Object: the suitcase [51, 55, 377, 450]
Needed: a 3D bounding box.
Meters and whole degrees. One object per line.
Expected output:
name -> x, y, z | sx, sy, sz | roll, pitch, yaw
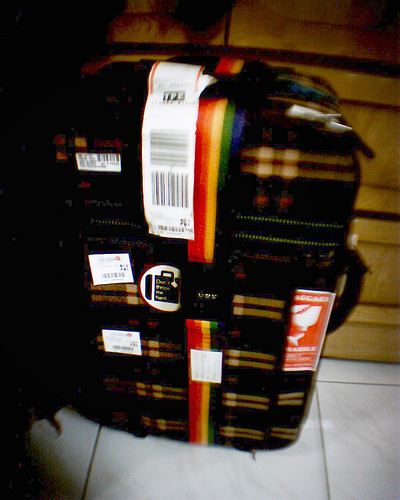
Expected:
suitcase -> 0.020, 0.049, 1.153 | 0.713, 0.815, 0.512 | 5, 46, 4
